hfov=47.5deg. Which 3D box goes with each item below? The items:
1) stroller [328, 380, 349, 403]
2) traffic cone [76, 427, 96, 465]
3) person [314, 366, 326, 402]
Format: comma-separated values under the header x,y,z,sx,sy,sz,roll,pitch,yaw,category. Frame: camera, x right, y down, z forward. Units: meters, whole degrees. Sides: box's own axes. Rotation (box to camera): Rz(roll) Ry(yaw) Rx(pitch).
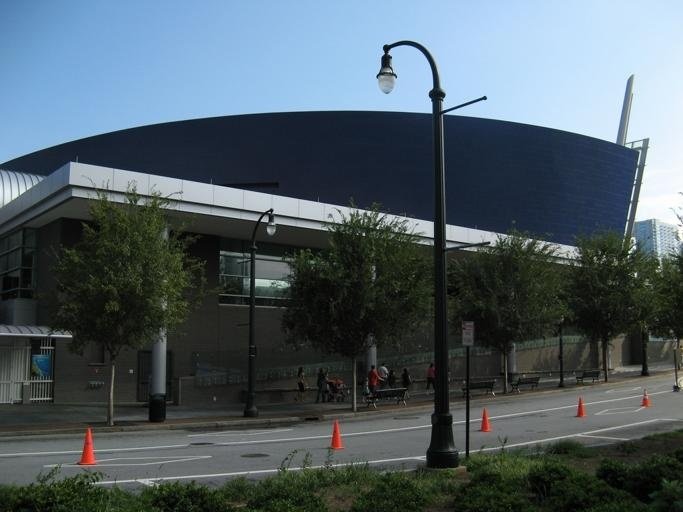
x,y,z,sx,sy,sz,roll,pitch,yaw,category
-0.236,7.218,41.371,0.769,1.156,1.281,-4,-8,16,stroller
-7.091,5.353,21.697,0.531,0.942,0.596,1,-5,6,traffic cone
-1.074,6.893,41.252,0.570,1.760,1.876,-1,-7,-3,person
